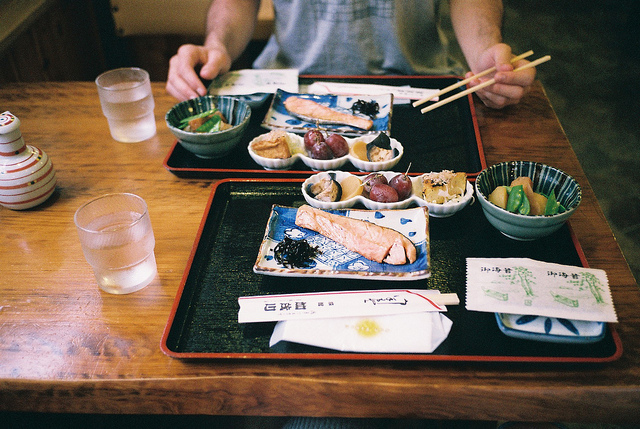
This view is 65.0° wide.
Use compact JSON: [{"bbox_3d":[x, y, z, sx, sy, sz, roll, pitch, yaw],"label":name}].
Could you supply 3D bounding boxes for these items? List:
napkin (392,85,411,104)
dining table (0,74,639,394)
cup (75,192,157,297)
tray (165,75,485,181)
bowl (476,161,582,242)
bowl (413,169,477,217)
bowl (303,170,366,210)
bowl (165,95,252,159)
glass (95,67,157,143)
[{"bbox_3d":[0.418,-0.610,2.574,0.112,0.025,0.106,0,73,6],"label":"napkin"},{"bbox_3d":[-0.086,-0.111,2.077,2.476,0.515,1.559,1,41,1],"label":"dining table"},{"bbox_3d":[-0.724,0.108,1.835,0.244,0.301,0.229,0,42,0],"label":"cup"},{"bbox_3d":[0.021,-0.386,2.346,0.795,0.126,0.290,-14,40,-18],"label":"tray"},{"bbox_3d":[0.797,-0.066,1.944,0.365,0.201,0.351,-1,41,1],"label":"bowl"},{"bbox_3d":[0.496,-0.092,2.025,0.205,0.123,0.205,-2,45,2],"label":"bowl"},{"bbox_3d":[0.054,-0.100,2.071,0.191,0.091,0.186,-1,44,1],"label":"bowl"},{"bbox_3d":[-0.501,-0.420,2.287,0.339,0.177,0.328,-1,36,0],"label":"bowl"},{"bbox_3d":[-0.918,-0.513,2.384,0.250,0.278,0.243,-2,35,-8],"label":"glass"}]
